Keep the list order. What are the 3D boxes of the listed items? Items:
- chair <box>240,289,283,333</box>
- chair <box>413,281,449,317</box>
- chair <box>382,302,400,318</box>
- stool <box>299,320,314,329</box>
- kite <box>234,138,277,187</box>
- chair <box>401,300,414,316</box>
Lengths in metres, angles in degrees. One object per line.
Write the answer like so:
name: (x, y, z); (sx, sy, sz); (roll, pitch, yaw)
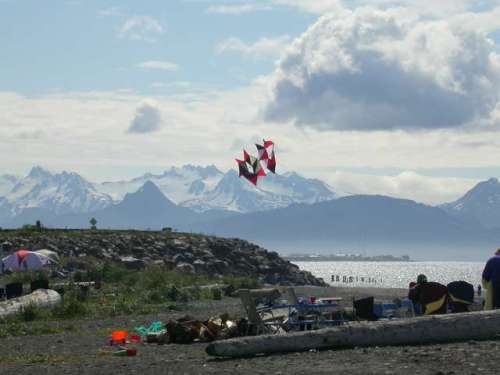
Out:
chair: (0.256, 4.909, 35.791); (1.255, 1.550, 1.293); (-4, -6, -28)
chair: (7.342, 4.498, 36.278); (1.049, 1.357, 1.030); (-7, -7, 21)
chair: (5.793, 5.052, 36.885); (0.548, 0.672, 0.767); (-2, -1, 10)
stool: (2.231, 5.486, 35.862); (0.619, 0.448, 0.867); (0, 4, 1)
kite: (0.360, -1.398, 48.634); (2.075, 2.498, 1.844); (1, -1, -16)
chair: (6.353, 4.878, 36.237); (0.488, 0.640, 0.560); (0, 4, 9)
